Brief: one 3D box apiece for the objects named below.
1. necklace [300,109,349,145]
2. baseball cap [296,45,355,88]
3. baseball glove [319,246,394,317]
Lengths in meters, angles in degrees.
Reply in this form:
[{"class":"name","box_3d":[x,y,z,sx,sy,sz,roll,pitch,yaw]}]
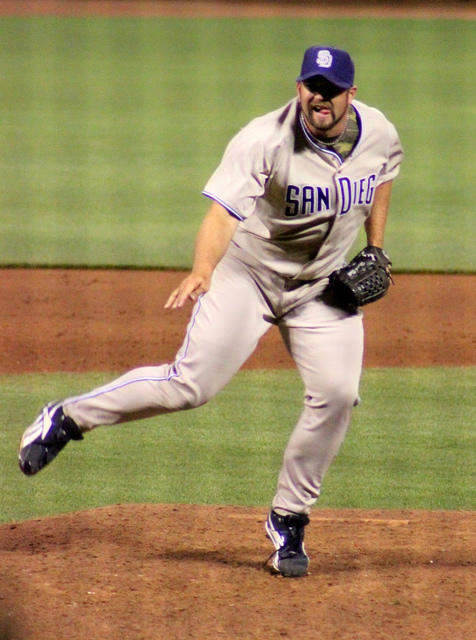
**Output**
[{"class":"necklace","box_3d":[0.348,-0.755,4.569,0.087,0.117,0.271,18,20,36]},{"class":"baseball cap","box_3d":[0.339,-0.985,4.531,0.231,0.165,0.305,6,9,10]},{"class":"baseball glove","box_3d":[0.526,-0.195,4.832,0.210,0.129,0.311,31,61,35]}]
